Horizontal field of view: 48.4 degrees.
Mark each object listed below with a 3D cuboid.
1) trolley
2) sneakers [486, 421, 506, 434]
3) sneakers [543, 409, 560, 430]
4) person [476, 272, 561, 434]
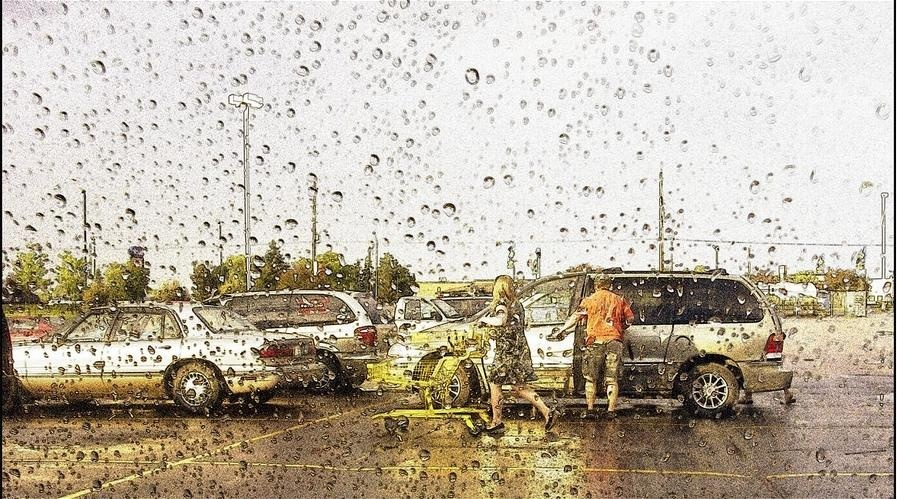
[{"bbox_3d":[-0.416,2.431,20.198,2.237,2.162,1.503,2,8,5],"label":"trolley"},{"bbox_3d":[0.952,3.418,19.057,0.408,0.206,0.180,-12,12,28],"label":"sneakers"},{"bbox_3d":[1.971,3.260,19.123,0.197,0.544,0.214,13,-18,16],"label":"sneakers"},{"bbox_3d":[1.232,2.027,19.245,1.296,3.096,1.098,0,13,1],"label":"person"}]
